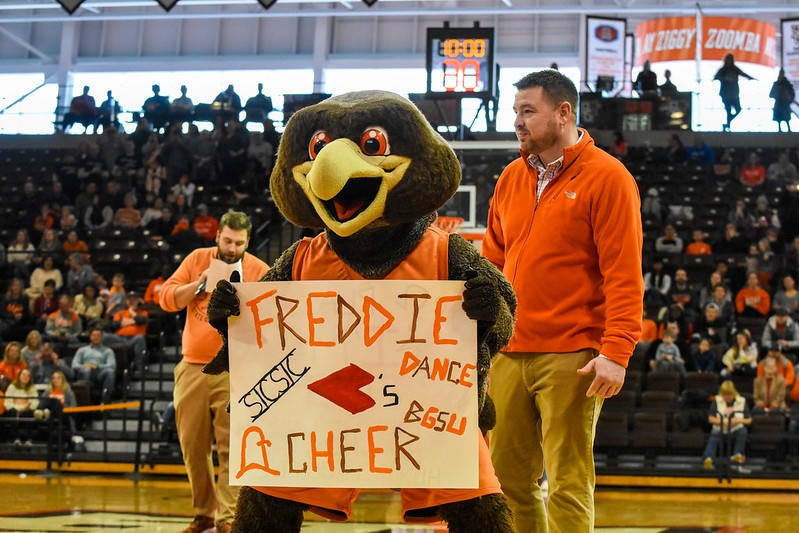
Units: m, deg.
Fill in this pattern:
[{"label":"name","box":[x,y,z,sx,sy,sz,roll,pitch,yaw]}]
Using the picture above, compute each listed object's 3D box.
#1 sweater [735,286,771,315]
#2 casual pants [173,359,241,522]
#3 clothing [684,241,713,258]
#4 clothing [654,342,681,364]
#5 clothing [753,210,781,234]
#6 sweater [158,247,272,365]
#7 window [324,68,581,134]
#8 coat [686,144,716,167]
[{"label":"sweater","box":[6.223,0.617,29.673,0.624,0.471,0.248,-1,-1,9]},{"label":"casual pants","box":[-2.887,2.589,25.125,1.124,2.305,0.730,4,-27,-30]},{"label":"clothing","box":[5.570,-0.328,31.373,0.517,0.352,0.241,1,-27,13]},{"label":"clothing","box":[4.610,1.469,28.899,0.501,0.366,0.271,0,-19,14]},{"label":"clothing","box":[6.959,-0.860,31.965,0.575,0.474,0.162,5,-16,-12]},{"label":"sweater","box":[-2.813,0.631,25.147,1.598,1.565,0.990,8,16,-18]},{"label":"window","box":[0.989,-2.728,28.047,3.358,0.967,0.065,0,-12,4]},{"label":"coat","box":[6.193,-2.268,34.708,0.503,0.400,0.261,4,-13,24]}]
